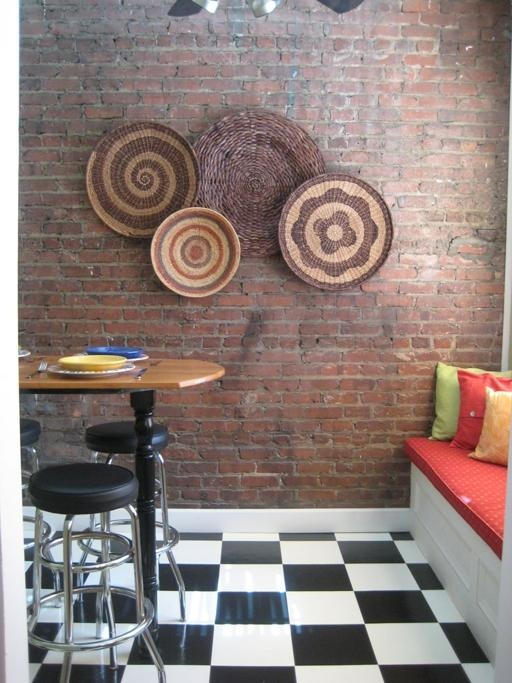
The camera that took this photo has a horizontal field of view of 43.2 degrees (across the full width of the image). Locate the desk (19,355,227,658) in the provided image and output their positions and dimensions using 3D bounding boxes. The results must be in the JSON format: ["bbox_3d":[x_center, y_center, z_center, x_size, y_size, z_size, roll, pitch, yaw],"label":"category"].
[{"bbox_3d":[-0.416,0.457,2.220,0.829,0.855,1.056,1,3,5],"label":"desk"}]
